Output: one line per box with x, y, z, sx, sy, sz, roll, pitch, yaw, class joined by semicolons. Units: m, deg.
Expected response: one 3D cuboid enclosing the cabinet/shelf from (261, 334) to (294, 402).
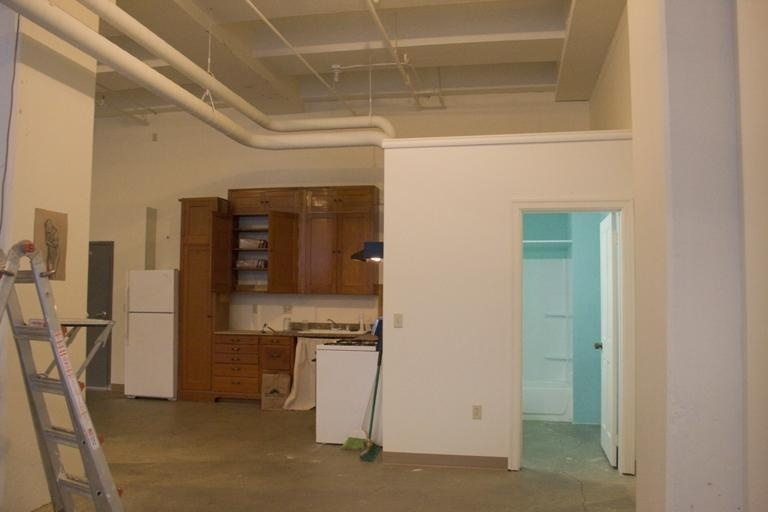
-1.535;1.637;8.826;0.543;0.980;0.325;0;2;1;cabinet/shelf

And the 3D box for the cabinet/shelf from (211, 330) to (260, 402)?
-2.323;1.706;9.267;0.740;0.963;0.672;9;-24;-33;cabinet/shelf

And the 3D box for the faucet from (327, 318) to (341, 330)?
-0.769;1.032;9.383;0.197;0.160;0.065;1;2;23;faucet

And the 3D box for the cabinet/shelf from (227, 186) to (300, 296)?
-1.828;-0.248;9.459;1.170;1.569;0.502;1;3;36;cabinet/shelf

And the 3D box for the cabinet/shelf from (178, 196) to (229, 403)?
-2.744;0.613;9.355;0.685;2.983;0.571;0;2;14;cabinet/shelf

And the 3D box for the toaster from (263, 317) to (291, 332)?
-1.664;1.041;9.429;0.450;0.210;0.436;0;2;-1;toaster
